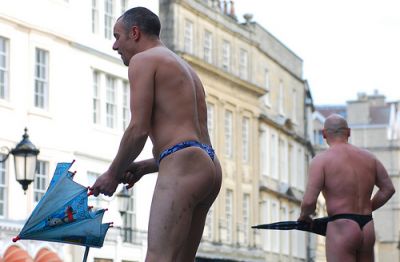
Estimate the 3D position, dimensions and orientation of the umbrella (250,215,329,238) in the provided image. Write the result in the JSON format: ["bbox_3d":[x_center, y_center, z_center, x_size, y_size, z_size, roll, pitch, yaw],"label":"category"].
[{"bbox_3d":[3.350,3.685,57.243,3.195,0.751,1.040,2,-56,-2],"label":"umbrella"}]
